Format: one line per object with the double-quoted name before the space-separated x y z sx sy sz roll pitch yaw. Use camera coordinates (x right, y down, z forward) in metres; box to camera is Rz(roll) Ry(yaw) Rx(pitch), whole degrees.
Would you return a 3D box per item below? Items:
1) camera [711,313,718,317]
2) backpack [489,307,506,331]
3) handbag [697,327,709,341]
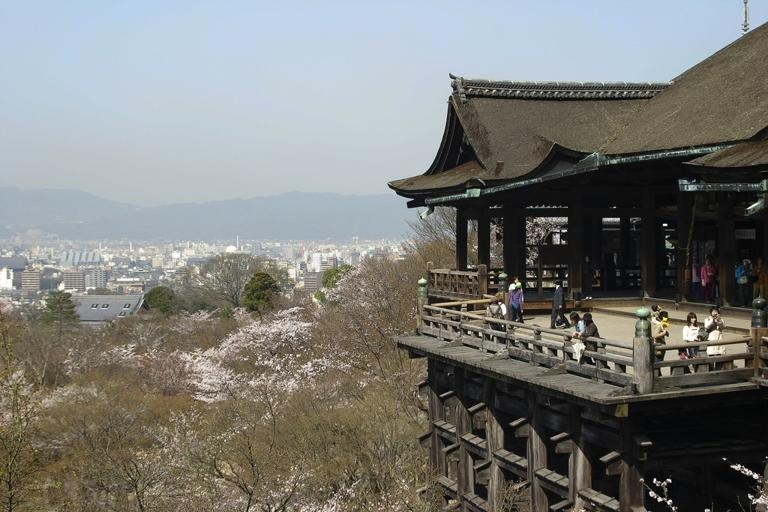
"camera" 10.295 1.807 29.008 0.206 0.146 0.212 -1 1 13
"backpack" 3.902 2.134 32.429 0.472 0.890 0.632 -16 17 -33
"handbag" 10.079 2.453 29.551 0.388 0.366 0.298 -4 3 10
